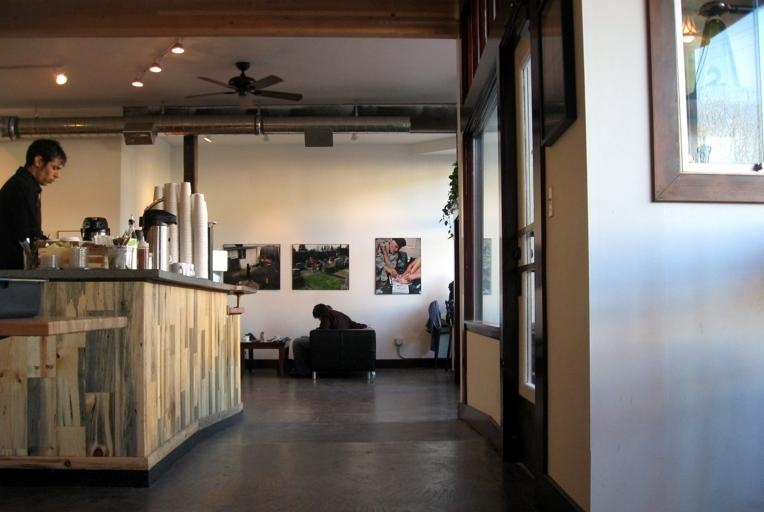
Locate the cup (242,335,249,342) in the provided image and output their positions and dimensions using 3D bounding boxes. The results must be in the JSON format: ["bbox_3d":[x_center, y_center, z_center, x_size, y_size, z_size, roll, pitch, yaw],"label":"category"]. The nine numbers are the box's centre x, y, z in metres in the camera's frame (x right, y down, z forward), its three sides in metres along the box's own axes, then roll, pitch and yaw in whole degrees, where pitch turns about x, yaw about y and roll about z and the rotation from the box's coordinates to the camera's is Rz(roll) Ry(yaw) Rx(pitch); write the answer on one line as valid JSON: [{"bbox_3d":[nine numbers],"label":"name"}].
[{"bbox_3d":[-2.246,1.390,11.103,0.095,0.069,0.074,0,-4,-1],"label":"cup"}]

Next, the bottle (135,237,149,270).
[{"bbox_3d":[-1.682,-0.017,4.757,0.074,0.221,0.193,0,-3,-21],"label":"bottle"}]

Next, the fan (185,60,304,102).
[{"bbox_3d":[-1.630,-2.125,8.495,0.895,0.245,0.804,-8,-14,29],"label":"fan"}]

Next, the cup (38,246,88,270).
[{"bbox_3d":[-2.144,0.022,4.590,0.240,0.099,0.182,0,-1,2],"label":"cup"}]

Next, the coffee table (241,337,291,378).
[{"bbox_3d":[-1.908,1.682,11.021,0.851,0.562,0.889,1,-5,-21],"label":"coffee table"}]

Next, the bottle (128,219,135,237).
[{"bbox_3d":[-1.804,-0.201,4.871,0.031,0.124,0.071,0,-3,-19],"label":"bottle"}]
